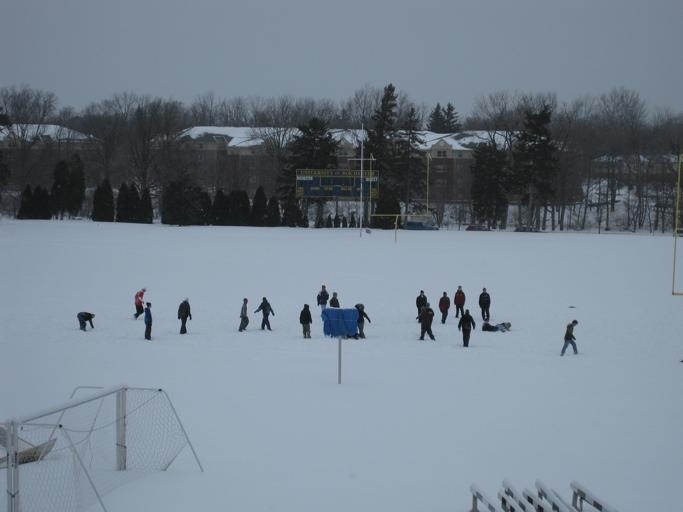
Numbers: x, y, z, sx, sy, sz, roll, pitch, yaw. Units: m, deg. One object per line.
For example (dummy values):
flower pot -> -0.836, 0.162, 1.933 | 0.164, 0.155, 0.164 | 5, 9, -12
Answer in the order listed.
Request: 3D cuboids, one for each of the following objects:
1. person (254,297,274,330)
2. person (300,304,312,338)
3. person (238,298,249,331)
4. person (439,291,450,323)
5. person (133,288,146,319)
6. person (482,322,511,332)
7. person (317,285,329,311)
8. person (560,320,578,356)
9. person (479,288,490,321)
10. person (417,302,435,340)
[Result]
person -> -4.070, 3.052, 61.264 | 0.862, 1.748, 3.007 | 0, 3, -4
person -> -1.859, 3.398, 59.706 | 0.599, 1.743, 1.731 | 0, 3, -2
person -> -5.203, 3.122, 60.414 | 0.537, 1.750, 1.603 | 0, 3, -6
person -> 5.620, 2.821, 62.130 | 0.579, 1.712, 1.410 | 1, 3, 6
person -> -10.972, 2.681, 61.880 | 0.697, 2.324, 0.736 | -11, 22, -38
person -> 8.273, 3.825, 60.438 | 0.948, 0.485, 0.672 | -10, -1, -29
person -> -0.977, 2.316, 62.606 | 0.588, 1.355, 1.367 | 1, 3, -2
person -> 11.541, 4.105, 57.494 | 0.817, 1.779, 2.183 | 1, 3, 12
person -> 7.807, 2.681, 61.932 | 0.564, 1.800, 1.696 | 1, 3, 7
person -> 4.458, 3.473, 59.198 | 0.845, 1.791, 1.725 | 1, 3, 4
